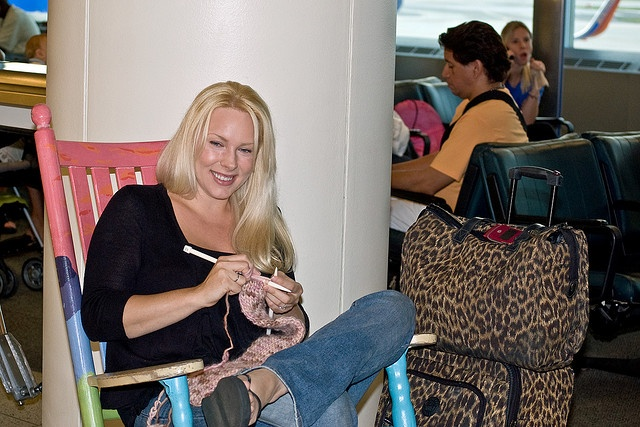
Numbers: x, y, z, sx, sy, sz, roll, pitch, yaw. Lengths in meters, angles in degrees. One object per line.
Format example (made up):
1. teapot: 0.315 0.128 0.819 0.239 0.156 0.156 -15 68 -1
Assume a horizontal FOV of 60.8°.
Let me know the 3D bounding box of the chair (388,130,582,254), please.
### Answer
1. chair: 0.888 -0.198 3.085 0.628 0.875 0.760 -3 9 -36

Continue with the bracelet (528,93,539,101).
1. bracelet: 1.959 -1.074 4.962 0.060 0.019 0.064 1 -37 1

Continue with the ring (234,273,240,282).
1. ring: -0.231 0.174 1.506 0.007 0.019 0.016 4 -22 -10

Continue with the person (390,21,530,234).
1. person: 0.690 -0.504 3.284 0.923 1.223 0.850 16 26 39
